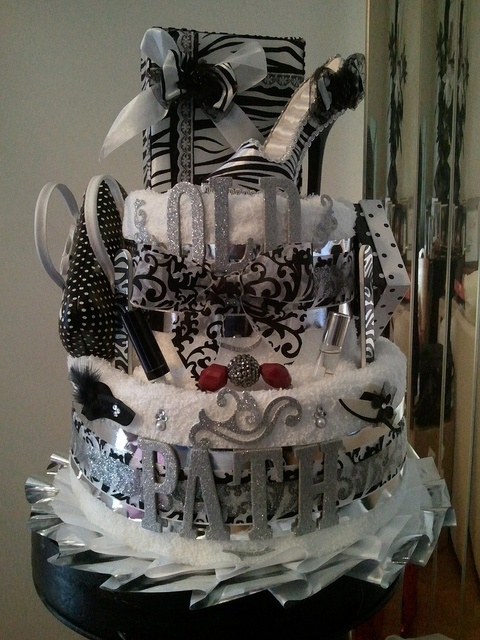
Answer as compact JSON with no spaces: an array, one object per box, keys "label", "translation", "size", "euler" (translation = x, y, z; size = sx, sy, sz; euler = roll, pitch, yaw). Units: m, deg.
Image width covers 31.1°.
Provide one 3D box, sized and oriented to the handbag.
[{"label":"handbag","translation":[-0.208,-0.072,1.151],"size":[0.075,0.200,0.219],"euler":[4,21,-15]}]
